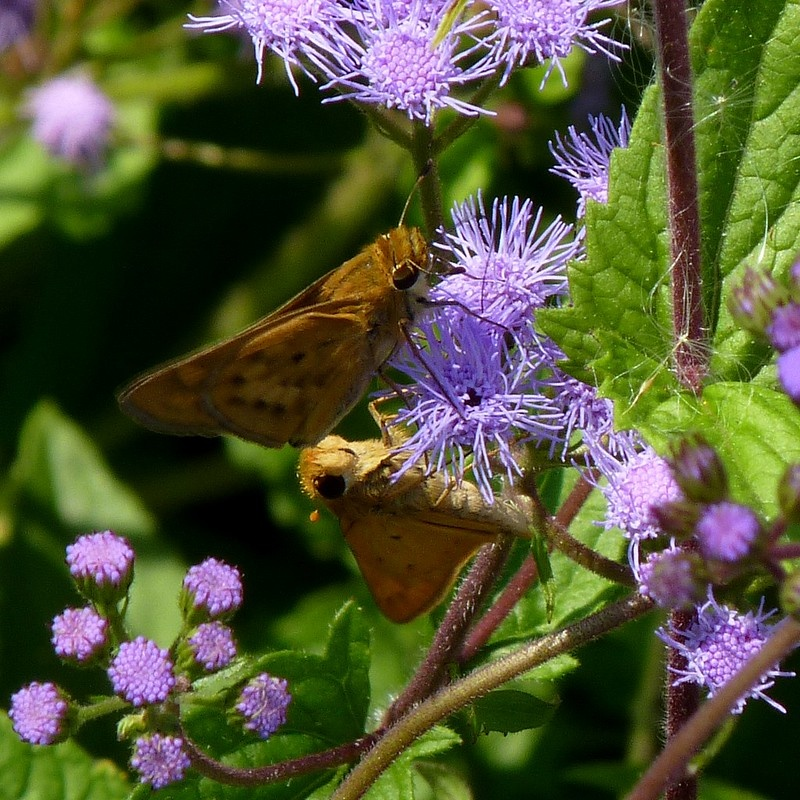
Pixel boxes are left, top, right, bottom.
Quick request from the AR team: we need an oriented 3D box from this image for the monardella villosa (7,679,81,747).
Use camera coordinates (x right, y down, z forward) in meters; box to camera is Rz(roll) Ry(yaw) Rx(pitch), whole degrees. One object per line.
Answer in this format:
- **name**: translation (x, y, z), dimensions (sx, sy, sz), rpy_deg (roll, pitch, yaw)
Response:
- **monardella villosa**: translation (-0.899, 0.804, 3.193), dimensions (0.162, 0.209, 0.134), rpy_deg (-2, 35, -10)

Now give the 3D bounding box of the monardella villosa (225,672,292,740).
- **monardella villosa**: translation (-0.343, 0.745, 3.130), dimensions (0.133, 0.155, 0.043), rpy_deg (32, -12, -38)

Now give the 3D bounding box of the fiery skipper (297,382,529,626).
- **fiery skipper**: translation (0.000, 0.167, 3.250), dimensions (0.602, 0.322, 0.611), rpy_deg (-4, 27, -40)

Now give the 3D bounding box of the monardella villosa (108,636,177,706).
- **monardella villosa**: translation (-0.634, 0.659, 3.088), dimensions (0.167, 0.119, 0.142), rpy_deg (14, 36, 11)
